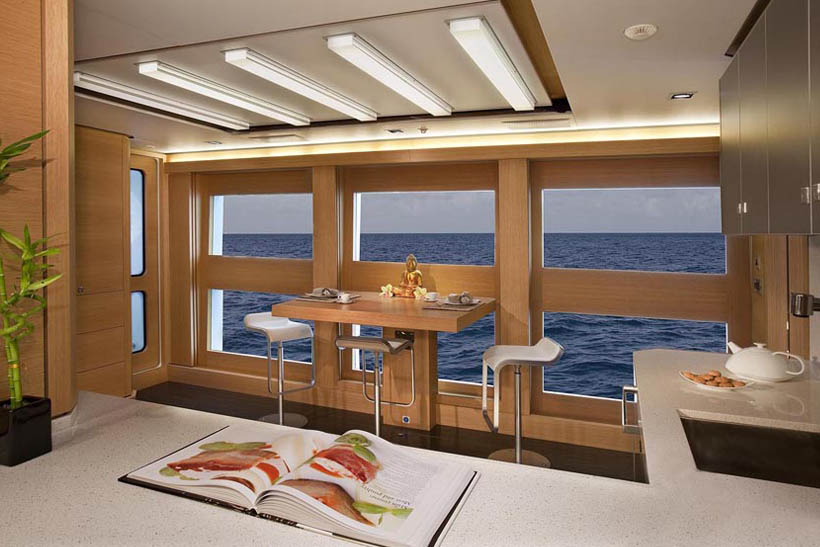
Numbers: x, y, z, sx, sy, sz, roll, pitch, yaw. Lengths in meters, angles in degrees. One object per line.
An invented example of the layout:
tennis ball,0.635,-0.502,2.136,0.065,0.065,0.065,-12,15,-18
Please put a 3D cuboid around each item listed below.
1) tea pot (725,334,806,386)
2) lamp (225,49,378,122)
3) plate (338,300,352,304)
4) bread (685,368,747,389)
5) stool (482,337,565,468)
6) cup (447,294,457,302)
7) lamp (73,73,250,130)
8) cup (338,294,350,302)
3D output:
tea pot,1.821,0.443,2.774,0.259,0.114,0.295,-2,3,-43
lamp,-0.630,-1.269,3.618,0.977,0.036,0.130,22,25,-23
plate,-0.550,0.234,4.510,0.108,0.033,0.099,0,9,-12
bread,1.552,0.533,2.730,0.277,0.052,0.199,1,9,-6
stool,0.838,0.963,4.176,0.567,1.065,1.142,5,10,12
cup,0.340,0.206,4.376,0.111,0.064,0.055,1,-5,-6
lamp,-1.803,-1.257,3.949,1.161,0.040,0.166,13,4,-23
cup,-0.561,0.206,4.522,0.086,0.049,0.062,1,11,14
